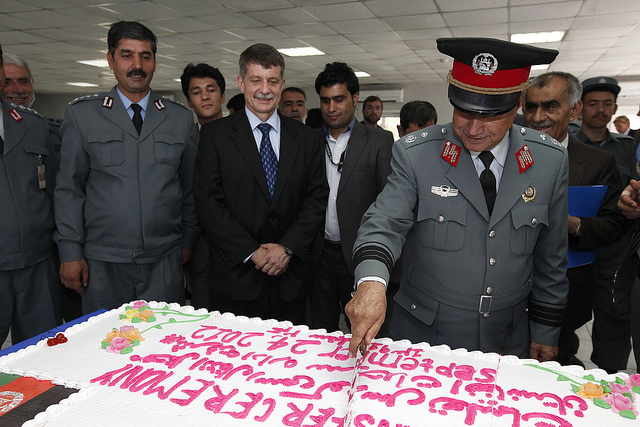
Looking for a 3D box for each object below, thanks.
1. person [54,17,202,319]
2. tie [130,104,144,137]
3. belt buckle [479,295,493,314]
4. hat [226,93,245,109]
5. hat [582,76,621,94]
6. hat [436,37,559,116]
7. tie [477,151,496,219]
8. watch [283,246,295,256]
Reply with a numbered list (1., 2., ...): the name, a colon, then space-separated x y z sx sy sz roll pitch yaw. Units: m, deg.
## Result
1. person: -1.316 -0.294 2.745 0.711 1.940 0.874 5 18 12
2. tie: -1.249 -0.636 2.732 0.078 0.231 0.023 -3 -23 -24
3. belt buckle: 0.797 0.440 1.945 0.054 0.094 0.022 8 7 4
4. hat: -0.967 -1.297 4.617 0.170 0.187 0.537 -4 19 -14
5. hat: 2.655 -1.224 3.801 0.315 0.140 0.263 9 20 24
6. hat: 0.820 -0.708 1.947 0.502 0.315 0.515 -8 33 -14
7. tie: 0.808 -0.141 1.995 0.073 0.329 0.083 -1 -6 9
8. watch: -0.217 0.246 2.714 0.070 0.061 0.046 37 -2 -24
